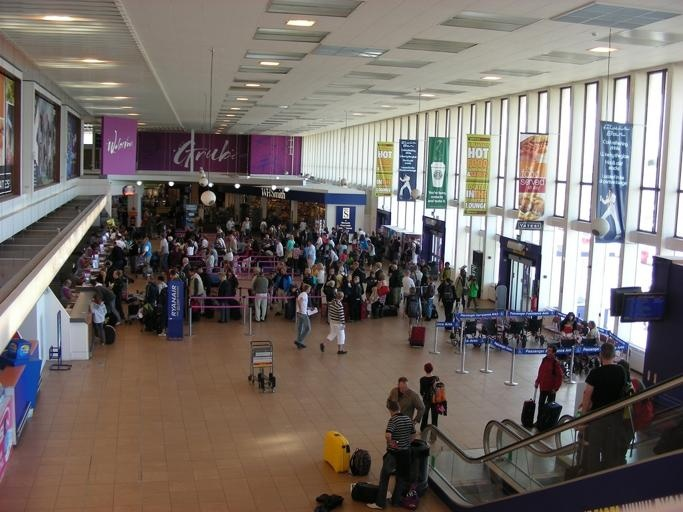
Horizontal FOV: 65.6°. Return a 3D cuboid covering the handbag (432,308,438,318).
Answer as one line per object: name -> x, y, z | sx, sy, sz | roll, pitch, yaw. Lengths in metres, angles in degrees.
handbag -> 3.030, 1.847, 17.337 | 0.170, 0.272, 0.266 | 3, -5, 5

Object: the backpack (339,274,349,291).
backpack -> 0.071, 0.824, 16.773 | 0.215, 0.525, 0.390 | -4, 11, -33

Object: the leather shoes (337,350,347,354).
leather shoes -> 0.013, 2.465, 13.827 | 0.254, 0.110, 0.088 | -1, 4, -8

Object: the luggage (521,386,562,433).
luggage -> 3.660, 2.876, 9.730 | 0.599, 0.633, 0.634 | 1, 9, -4

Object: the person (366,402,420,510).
person -> 0.732, 2.739, 7.303 | 0.612, 1.527, 0.401 | -4, 11, -35

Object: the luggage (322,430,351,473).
luggage -> -0.072, 3.079, 8.485 | 0.268, 0.490, 0.531 | 2, 2, -26

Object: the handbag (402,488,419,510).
handbag -> 0.986, 3.415, 7.534 | 0.253, 0.343, 0.181 | 1, 1, -25

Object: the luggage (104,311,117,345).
luggage -> -6.195, 1.886, 14.214 | 0.170, 0.797, 0.772 | -9, -15, -22

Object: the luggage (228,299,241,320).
luggage -> -3.326, 1.679, 16.662 | 0.429, 0.655, 0.608 | 0, 4, -4

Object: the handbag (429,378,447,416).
handbag -> 1.715, 2.470, 9.236 | 0.236, 0.742, 0.465 | 6, 10, 24

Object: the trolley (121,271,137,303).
trolley -> -7.501, 1.105, 18.731 | 0.645, 1.204, 0.636 | 5, 29, -12
